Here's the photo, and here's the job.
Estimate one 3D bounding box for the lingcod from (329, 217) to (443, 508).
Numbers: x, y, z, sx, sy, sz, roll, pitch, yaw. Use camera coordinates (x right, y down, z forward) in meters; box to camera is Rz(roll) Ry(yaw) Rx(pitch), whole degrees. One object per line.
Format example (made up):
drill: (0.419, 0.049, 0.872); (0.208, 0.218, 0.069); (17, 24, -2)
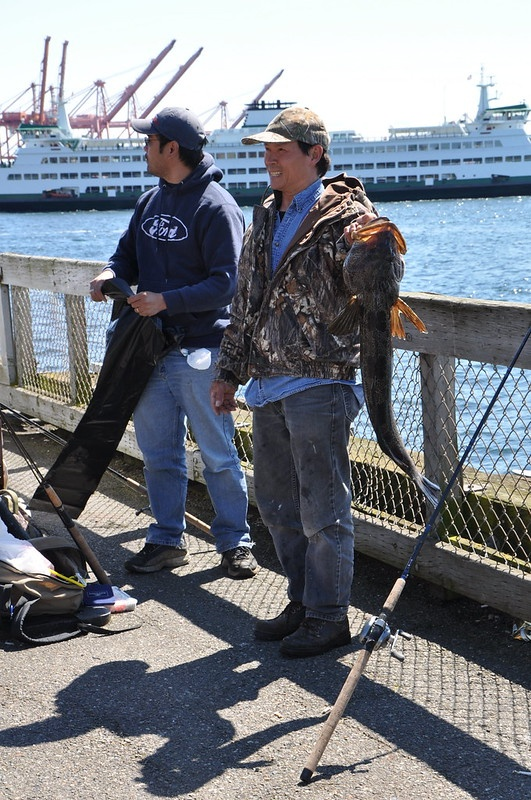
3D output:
lingcod: (0.333, -0.119, 2.384); (0.444, 0.762, 0.388); (5, 17, -6)

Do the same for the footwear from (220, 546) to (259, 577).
footwear: (-0.110, 0.720, 3.628); (0.095, 0.078, 0.185); (-1, -4, -21)

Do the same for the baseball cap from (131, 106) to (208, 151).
baseball cap: (-0.412, -1.162, 3.502); (0.321, 0.178, 0.192); (-2, 9, -6)

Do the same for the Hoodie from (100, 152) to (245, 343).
Hoodie: (-0.414, -0.647, 3.638); (0.691, 0.846, 0.566); (20, 27, 40)

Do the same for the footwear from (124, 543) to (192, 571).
footwear: (-0.485, 0.726, 3.775); (0.311, 0.131, 0.105); (0, 3, -30)
